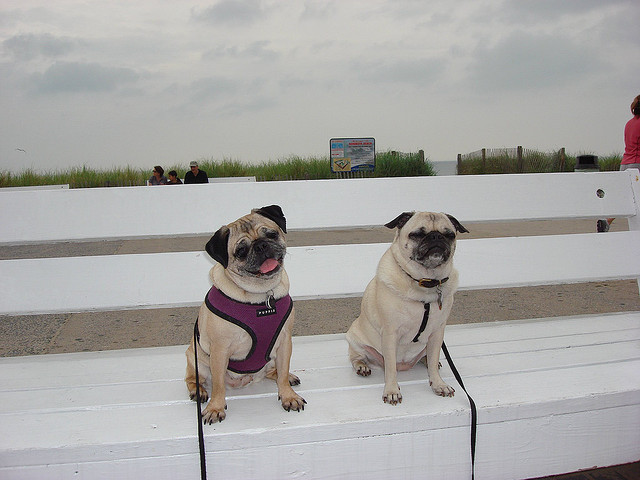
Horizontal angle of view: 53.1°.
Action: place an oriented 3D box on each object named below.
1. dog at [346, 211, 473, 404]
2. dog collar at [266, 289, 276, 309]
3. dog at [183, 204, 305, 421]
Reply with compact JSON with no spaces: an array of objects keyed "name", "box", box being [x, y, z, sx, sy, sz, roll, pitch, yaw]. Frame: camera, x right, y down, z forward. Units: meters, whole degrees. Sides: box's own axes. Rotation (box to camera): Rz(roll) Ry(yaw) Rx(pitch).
[{"name":"dog","box":[0.541,0.387,4.035,0.776,1.068,0.667,-1,10,6]},{"name":"dog collar","box":[-0.302,0.365,3.868,0.060,0.088,0.049,0,10,8]},{"name":"dog","box":[-0.522,0.409,4.107,0.775,1.340,0.869,-10,19,-35]}]
